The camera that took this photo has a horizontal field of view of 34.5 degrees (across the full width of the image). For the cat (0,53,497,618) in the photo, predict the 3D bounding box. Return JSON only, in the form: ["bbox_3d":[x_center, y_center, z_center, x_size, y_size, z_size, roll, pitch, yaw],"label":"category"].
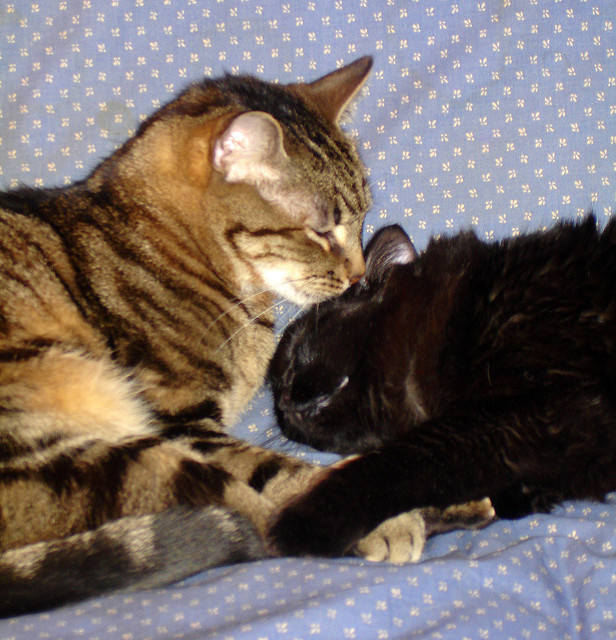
[{"bbox_3d":[-0.077,-0.107,2.644,1.513,0.998,0.802,-16,19,-19],"label":"cat"}]

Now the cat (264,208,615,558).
[{"bbox_3d":[0.360,0.130,2.416,0.899,0.391,0.607,-26,44,-8],"label":"cat"}]
